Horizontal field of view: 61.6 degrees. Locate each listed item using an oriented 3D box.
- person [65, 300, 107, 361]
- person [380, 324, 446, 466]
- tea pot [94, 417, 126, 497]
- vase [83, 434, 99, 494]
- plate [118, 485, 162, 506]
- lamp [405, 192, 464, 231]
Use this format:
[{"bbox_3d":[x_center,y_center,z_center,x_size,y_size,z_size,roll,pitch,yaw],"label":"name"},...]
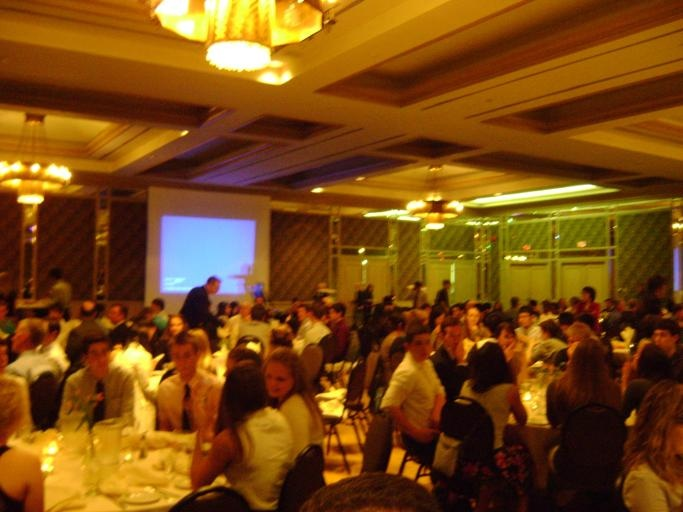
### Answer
[{"bbox_3d":[-2.934,0.900,6.653,0.470,1.060,0.330,-21,59,-37],"label":"person"},{"bbox_3d":[0.592,1.127,4.723,0.555,1.163,0.366,3,-2,-6],"label":"person"},{"bbox_3d":[-1.340,1.132,3.256,0.147,0.344,0.205,4,-2,-22],"label":"tea pot"},{"bbox_3d":[-1.423,1.167,3.263,0.085,0.296,0.216,4,-2,-24],"label":"vase"},{"bbox_3d":[-1.118,1.322,3.176,0.215,0.040,0.197,3,-3,-19],"label":"plate"},{"bbox_3d":[1.768,-0.849,10.759,0.972,0.403,0.907,1,-4,3],"label":"lamp"}]
